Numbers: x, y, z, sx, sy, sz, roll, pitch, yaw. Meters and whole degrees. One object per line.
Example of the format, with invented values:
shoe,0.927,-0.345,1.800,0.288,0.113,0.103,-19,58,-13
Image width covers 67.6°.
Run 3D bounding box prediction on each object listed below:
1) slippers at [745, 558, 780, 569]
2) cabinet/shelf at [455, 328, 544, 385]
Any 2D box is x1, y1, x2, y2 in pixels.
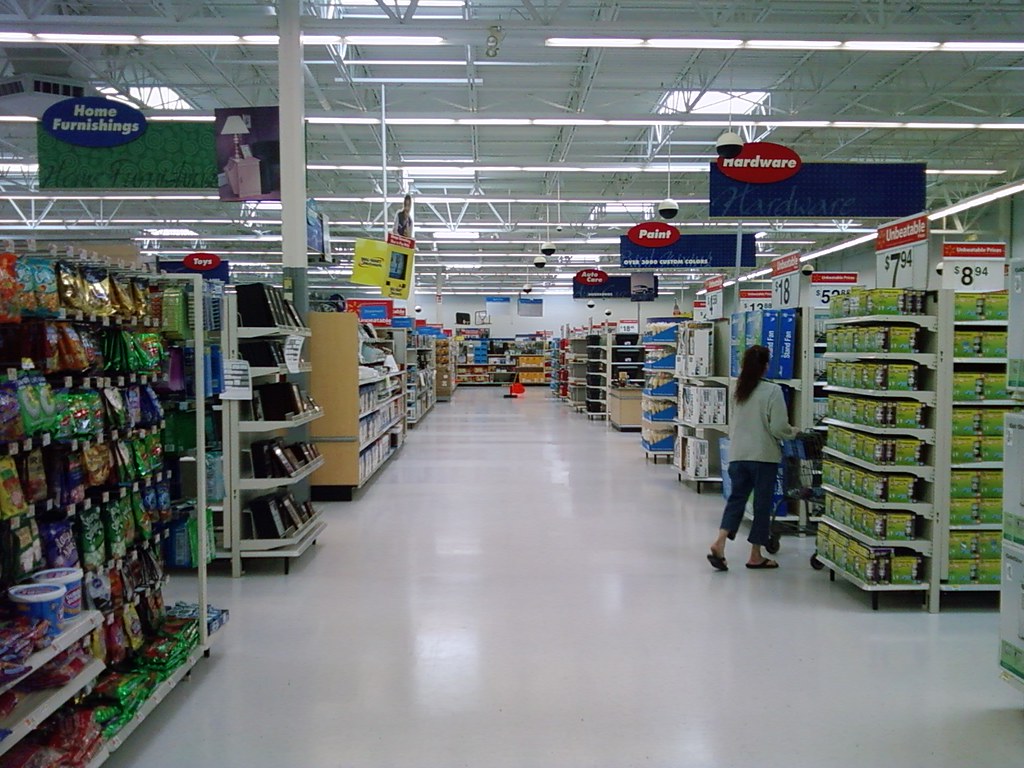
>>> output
slippers,2.128,1.528,6.513,0.242,0.065,0.098,-2,1,-6
cabinet/shelf,-0.830,-1.114,33.688,3.742,2.317,1.339,3,9,20
